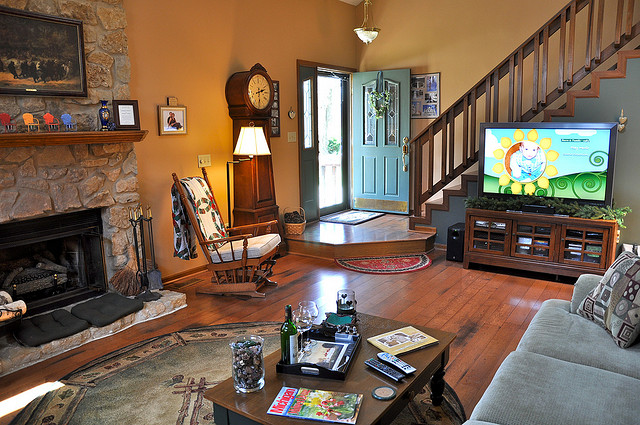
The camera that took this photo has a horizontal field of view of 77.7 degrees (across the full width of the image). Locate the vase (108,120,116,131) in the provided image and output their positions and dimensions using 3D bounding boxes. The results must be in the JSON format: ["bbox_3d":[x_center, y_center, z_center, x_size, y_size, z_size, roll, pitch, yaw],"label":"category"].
[{"bbox_3d":[-2.247,-0.927,4.263,0.036,0.099,0.101,-10,2,27],"label":"vase"}]

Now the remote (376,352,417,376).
[{"bbox_3d":[0.507,0.967,2.607,0.099,0.023,0.204,-8,17,-37],"label":"remote"}]

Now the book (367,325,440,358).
[{"bbox_3d":[0.605,0.925,2.866,0.456,0.051,0.259,-7,10,-23],"label":"book"}]

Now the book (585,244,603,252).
[{"bbox_3d":[3.369,0.434,4.874,0.119,0.054,0.084,6,11,39],"label":"book"}]

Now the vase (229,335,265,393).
[{"bbox_3d":[-0.456,0.934,2.543,0.208,0.310,0.197,7,10,9],"label":"vase"}]

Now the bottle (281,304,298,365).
[{"bbox_3d":[-0.213,0.779,2.645,0.120,0.388,0.215,-4,10,-5],"label":"bottle"}]

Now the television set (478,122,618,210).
[{"bbox_3d":[2.905,-0.633,5.175,1.531,1.100,0.084,2,11,28],"label":"television set"}]

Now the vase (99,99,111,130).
[{"bbox_3d":[-2.325,-1.049,4.282,0.115,0.331,0.184,-8,11,-26],"label":"vase"}]

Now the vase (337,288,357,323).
[{"bbox_3d":[0.214,0.732,3.130,0.148,0.249,0.159,-2,9,4],"label":"vase"}]

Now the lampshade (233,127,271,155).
[{"bbox_3d":[-0.936,-0.949,5.476,0.591,0.397,0.602,1,9,10],"label":"lampshade"}]

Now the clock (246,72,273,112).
[{"bbox_3d":[-0.860,-1.699,5.589,0.105,0.507,0.488,3,11,31],"label":"clock"}]

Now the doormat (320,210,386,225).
[{"bbox_3d":[0.605,0.109,7.405,0.727,0.076,1.109,5,12,42],"label":"doormat"}]

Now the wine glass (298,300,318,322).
[{"bbox_3d":[-0.082,0.714,2.907,0.131,0.130,0.136,1,14,5],"label":"wine glass"}]

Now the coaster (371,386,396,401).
[{"bbox_3d":[0.384,1.089,2.401,0.151,0.029,0.115,-4,9,-10],"label":"coaster"}]

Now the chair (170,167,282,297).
[{"bbox_3d":[-1.160,0.242,4.906,1.230,1.479,0.840,3,12,6],"label":"chair"}]
